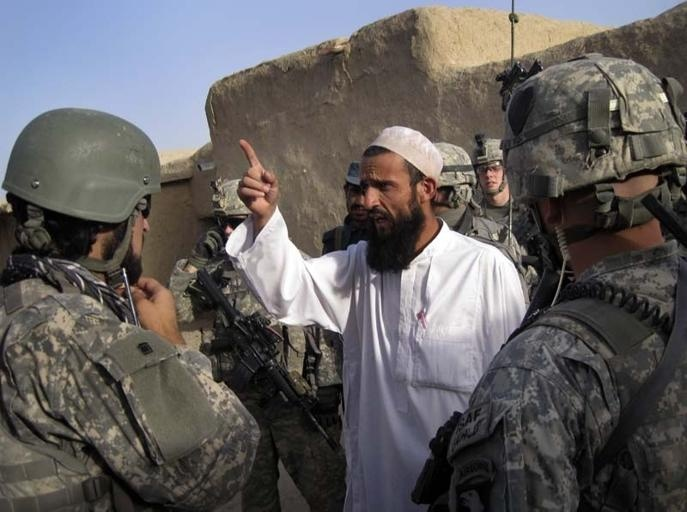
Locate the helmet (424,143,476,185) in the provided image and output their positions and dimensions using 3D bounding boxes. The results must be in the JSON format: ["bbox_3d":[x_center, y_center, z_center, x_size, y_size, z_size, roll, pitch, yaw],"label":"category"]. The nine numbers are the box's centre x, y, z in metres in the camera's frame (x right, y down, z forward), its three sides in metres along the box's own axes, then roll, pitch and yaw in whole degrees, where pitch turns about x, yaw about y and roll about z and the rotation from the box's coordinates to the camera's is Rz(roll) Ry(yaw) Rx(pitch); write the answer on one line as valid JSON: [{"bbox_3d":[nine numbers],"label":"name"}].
[{"bbox_3d":[0.707,-0.610,5.463,0.259,0.332,0.350,5,10,43],"label":"helmet"}]

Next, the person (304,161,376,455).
[{"bbox_3d":[-0.039,0.214,5.366,0.355,2.109,0.634,1,0,-40],"label":"person"}]

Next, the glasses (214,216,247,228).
[{"bbox_3d":[-0.932,-0.288,6.715,0.214,0.136,0.318,0,-2,-25],"label":"glasses"}]

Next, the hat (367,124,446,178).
[{"bbox_3d":[0.363,-0.528,4.191,0.273,0.170,0.290,28,-11,40],"label":"hat"}]

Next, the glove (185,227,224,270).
[{"bbox_3d":[-1.208,-0.064,7.088,0.211,0.432,0.119,16,-17,18],"label":"glove"}]
